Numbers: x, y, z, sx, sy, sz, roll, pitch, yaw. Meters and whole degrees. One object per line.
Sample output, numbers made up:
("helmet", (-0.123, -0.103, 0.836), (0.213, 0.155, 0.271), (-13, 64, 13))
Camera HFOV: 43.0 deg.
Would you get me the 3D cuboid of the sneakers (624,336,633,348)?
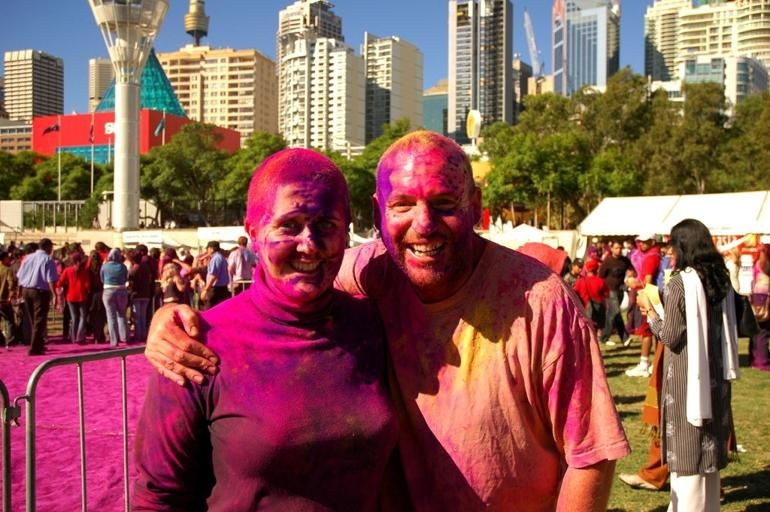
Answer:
("sneakers", (9.942, 3.505, 39.988), (0.196, 0.558, 0.234), (0, 37, -24))
